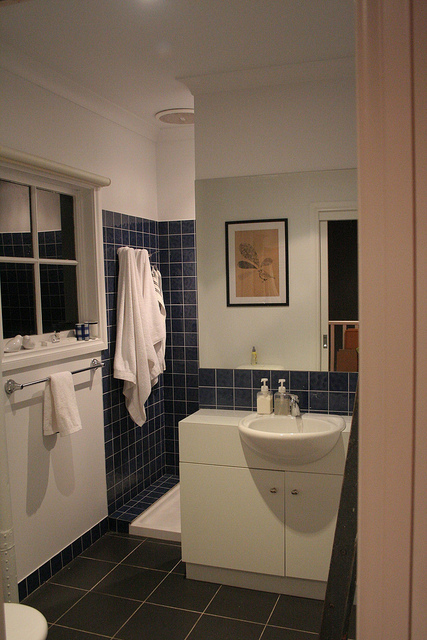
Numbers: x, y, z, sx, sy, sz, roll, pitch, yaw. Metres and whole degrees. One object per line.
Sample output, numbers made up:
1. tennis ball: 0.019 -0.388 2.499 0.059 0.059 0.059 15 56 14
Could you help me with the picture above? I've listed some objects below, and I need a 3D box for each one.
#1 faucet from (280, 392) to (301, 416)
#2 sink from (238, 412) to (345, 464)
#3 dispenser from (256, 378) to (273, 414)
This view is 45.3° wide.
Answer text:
1. faucet: 0.369 0.388 2.425 0.091 0.112 0.168 0 4 11
2. sink: 0.354 0.521 2.278 0.448 0.172 0.441 0 5 16
3. dispenser: 0.251 0.360 2.507 0.081 0.159 0.139 0 4 6
